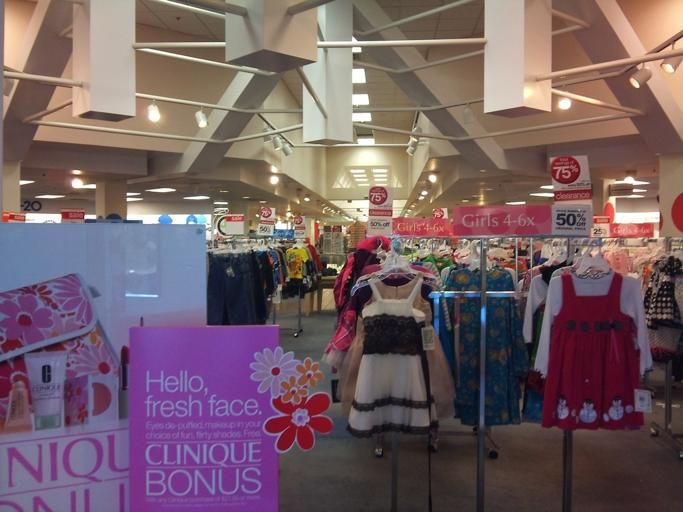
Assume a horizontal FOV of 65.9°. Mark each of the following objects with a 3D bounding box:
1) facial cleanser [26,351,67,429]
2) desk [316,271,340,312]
[{"bbox_3d":[-1.342,0.621,2.423,0.176,0.344,0.094,4,-11,-43],"label":"facial cleanser"},{"bbox_3d":[-0.365,0.822,12.244,0.806,0.974,0.863,0,-3,1],"label":"desk"}]
